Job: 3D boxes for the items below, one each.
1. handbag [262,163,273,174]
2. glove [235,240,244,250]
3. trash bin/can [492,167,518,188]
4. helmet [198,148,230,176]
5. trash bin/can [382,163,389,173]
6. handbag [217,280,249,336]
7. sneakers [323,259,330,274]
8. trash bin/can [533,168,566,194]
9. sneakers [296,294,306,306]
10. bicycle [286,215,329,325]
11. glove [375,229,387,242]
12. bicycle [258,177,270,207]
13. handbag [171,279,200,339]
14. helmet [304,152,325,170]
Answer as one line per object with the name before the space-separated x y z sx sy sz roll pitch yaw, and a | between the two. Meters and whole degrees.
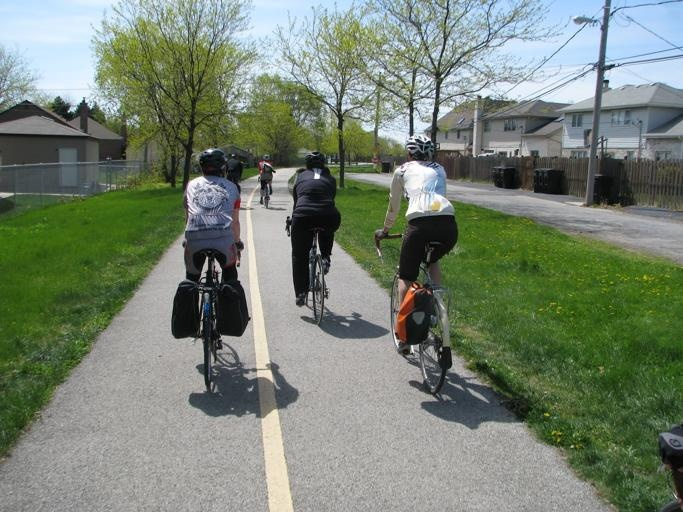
handbag | -2.969 -3.539 22.503 0.249 0.404 0.347 12 -9 -30
glove | -1.108 -0.129 6.057 0.079 0.105 0.114 1 -13 0
trash bin/can | 11.940 -5.766 40.879 1.750 1.470 0.866 8 12 38
helmet | -1.430 -1.061 6.226 0.220 0.328 0.335 4 30 -5
trash bin/can | 5.151 -10.330 64.867 0.959 1.411 0.910 -1 3 -5
handbag | -1.205 0.454 6.138 0.362 0.863 0.774 1 5 -8
sneakers | -0.218 0.133 7.978 0.113 0.164 0.169 0 0 -4
trash bin/can | 13.040 -4.700 35.009 1.906 1.510 1.110 7 12 33
sneakers | -0.602 0.654 8.319 0.099 0.192 0.168 0 -7 17
bicycle | -0.495 0.171 8.093 0.585 1.448 1.045 0 10 -4
glove | 0.446 -0.251 6.404 0.075 0.062 0.154 24 24 -11
bicycle | -3.280 -2.768 23.920 0.524 0.753 1.185 -1 24 -15
handbag | -1.625 0.566 5.839 0.281 0.629 0.192 -3 9 -18
helmet | -0.392 -1.418 8.253 0.199 0.276 0.279 3 25 -6
